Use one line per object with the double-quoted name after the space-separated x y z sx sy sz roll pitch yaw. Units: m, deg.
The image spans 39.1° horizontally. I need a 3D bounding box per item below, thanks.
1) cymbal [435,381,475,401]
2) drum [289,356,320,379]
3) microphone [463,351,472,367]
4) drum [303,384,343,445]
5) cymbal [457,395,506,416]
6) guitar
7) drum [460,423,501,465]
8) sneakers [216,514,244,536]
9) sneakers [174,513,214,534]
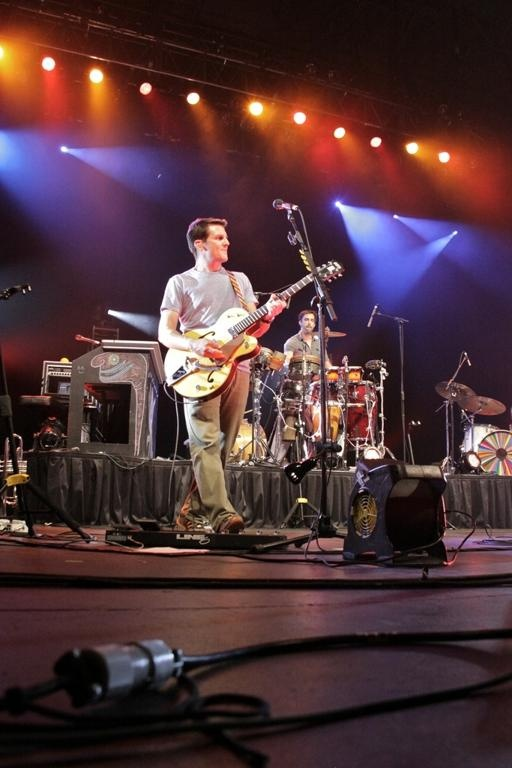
2.191 0.078 7.917 0.377 0.222 0.350 1 -2 20 "cymbal"
0.424 -0.134 6.478 0.228 0.125 0.214 -2 -8 0 "drum"
2.652 -0.310 9.049 0.144 0.205 0.123 -2 -1 34 "microphone"
0.583 0.252 6.161 0.389 0.473 0.122 2 -6 -9 "drum"
2.443 0.222 7.801 0.377 0.199 0.437 -1 -3 43 "cymbal"
0.092 -0.288 3.781 1.239 0.439 0.143 -34 -15 -17 "guitar"
2.334 0.610 7.525 0.409 0.358 0.380 6 -13 -4 "drum"
-0.104 0.607 3.139 0.056 0.060 0.142 -3 -24 -5 "sneakers"
-0.292 0.666 3.434 0.139 0.054 0.165 3 0 -14 "sneakers"
